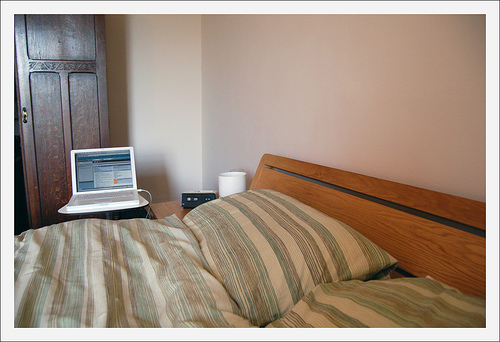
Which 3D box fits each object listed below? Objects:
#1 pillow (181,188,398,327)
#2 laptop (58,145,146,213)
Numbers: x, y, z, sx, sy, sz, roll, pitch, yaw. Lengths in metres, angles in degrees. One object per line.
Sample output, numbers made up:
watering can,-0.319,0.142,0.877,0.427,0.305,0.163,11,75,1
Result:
pillow,0.067,0.240,1.162,0.536,0.139,0.457,-15,30,-24
laptop,-0.937,0.043,1.994,0.447,0.279,0.359,-5,18,-20
